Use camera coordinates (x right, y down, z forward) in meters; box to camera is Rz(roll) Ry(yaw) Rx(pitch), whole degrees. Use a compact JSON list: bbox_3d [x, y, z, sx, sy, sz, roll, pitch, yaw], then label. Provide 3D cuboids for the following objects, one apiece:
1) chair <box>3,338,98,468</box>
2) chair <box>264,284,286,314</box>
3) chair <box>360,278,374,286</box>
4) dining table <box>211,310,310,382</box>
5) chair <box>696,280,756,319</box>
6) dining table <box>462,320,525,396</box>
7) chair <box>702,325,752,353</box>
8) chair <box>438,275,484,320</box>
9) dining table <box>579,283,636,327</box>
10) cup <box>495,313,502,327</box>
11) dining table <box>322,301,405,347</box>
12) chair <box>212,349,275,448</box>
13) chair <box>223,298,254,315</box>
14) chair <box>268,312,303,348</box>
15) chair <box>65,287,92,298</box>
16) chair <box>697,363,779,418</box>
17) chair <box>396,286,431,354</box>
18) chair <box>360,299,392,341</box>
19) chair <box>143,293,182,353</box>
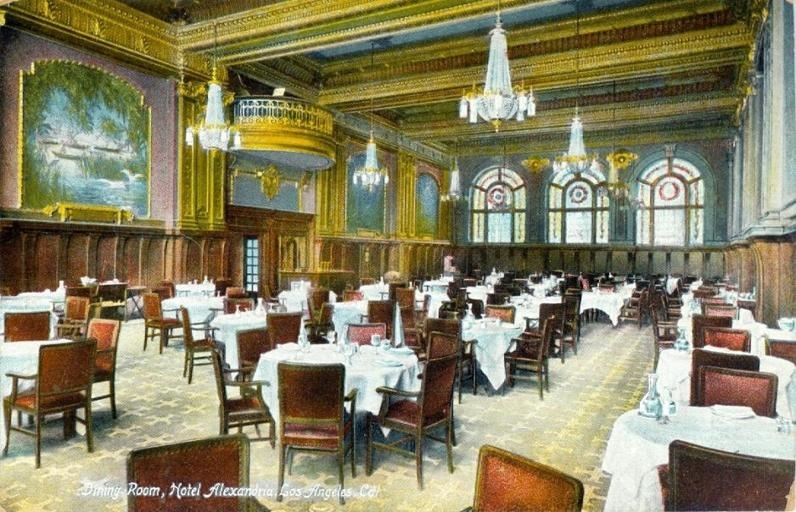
[{"bbox_3d":[-5.151,2.156,10.240,1.330,1.833,0.759,-2,-1,14],"label":"chair"},{"bbox_3d":[-2.748,0.951,15.412,0.466,0.698,0.477,0,-1,28],"label":"chair"},{"bbox_3d":[-0.824,0.692,18.984,0.279,0.178,0.211,4,-5,-8],"label":"chair"},{"bbox_3d":[-2.752,1.392,12.477,1.443,0.800,1.159,-2,5,-44],"label":"dining table"},{"bbox_3d":[7.001,0.909,14.546,0.517,0.782,0.594,6,13,37],"label":"chair"},{"bbox_3d":[1.636,1.687,12.311,1.160,0.911,1.140,-4,7,-42],"label":"dining table"},{"bbox_3d":[5.208,1.292,10.783,0.551,0.422,0.553,-1,1,28],"label":"chair"},{"bbox_3d":[1.402,0.985,16.089,0.809,1.407,0.775,-1,2,-44],"label":"chair"},{"bbox_3d":[5.524,1.281,17.897,1.221,0.677,2.273,-2,-2,21],"label":"dining table"},{"bbox_3d":[1.893,1.199,12.636,0.111,0.206,0.125,2,-3,-9],"label":"cup"},{"bbox_3d":[-0.619,1.472,13.939,0.986,1.327,1.009,1,1,-20],"label":"dining table"},{"bbox_3d":[-2.380,2.133,10.679,0.919,1.558,1.493,-1,-2,-14],"label":"chair"},{"bbox_3d":[-3.085,0.929,13.309,0.413,0.438,0.306,4,6,14],"label":"chair"},{"bbox_3d":[-1.887,1.241,11.552,0.504,0.925,0.574,1,-4,-25],"label":"chair"},{"bbox_3d":[-6.562,0.728,14.149,0.449,0.263,0.312,4,-1,-29],"label":"chair"},{"bbox_3d":[4.663,1.834,9.718,0.738,0.812,1.351,6,4,20],"label":"chair"},{"bbox_3d":[0.296,1.207,14.106,0.881,1.562,0.903,1,0,18],"label":"chair"},{"bbox_3d":[-0.303,1.215,13.423,0.593,1.057,0.633,1,1,-8],"label":"chair"},{"bbox_3d":[-4.943,1.354,14.343,0.709,1.209,1.657,-1,-2,-21],"label":"chair"}]
